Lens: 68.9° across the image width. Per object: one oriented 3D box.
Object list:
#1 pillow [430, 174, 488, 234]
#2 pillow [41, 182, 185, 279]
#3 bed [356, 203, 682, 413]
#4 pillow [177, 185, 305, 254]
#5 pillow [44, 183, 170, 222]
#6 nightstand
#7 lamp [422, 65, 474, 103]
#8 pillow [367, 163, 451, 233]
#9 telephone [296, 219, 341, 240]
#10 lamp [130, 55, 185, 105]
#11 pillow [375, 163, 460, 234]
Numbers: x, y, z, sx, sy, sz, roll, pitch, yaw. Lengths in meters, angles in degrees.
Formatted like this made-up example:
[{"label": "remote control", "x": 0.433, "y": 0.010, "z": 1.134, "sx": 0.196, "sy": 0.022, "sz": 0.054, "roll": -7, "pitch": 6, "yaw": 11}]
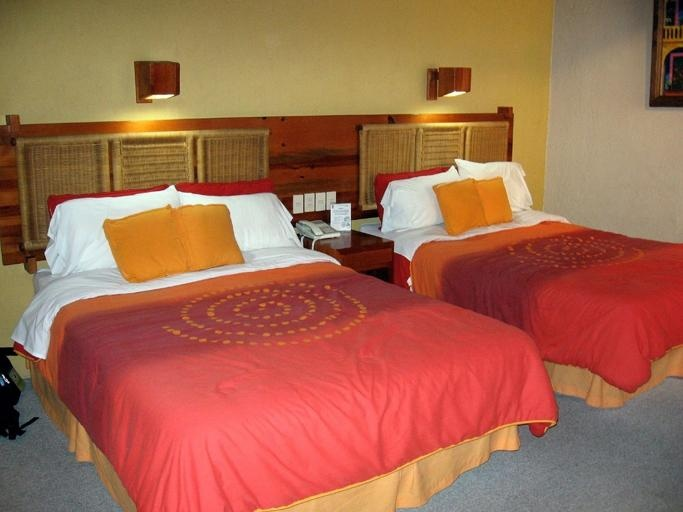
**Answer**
[{"label": "pillow", "x": 1.000, "y": -0.423, "z": 4.241, "sx": 0.474, "sy": 0.361, "sz": 0.231, "roll": -13, "pitch": 20, "yaw": -24}, {"label": "pillow", "x": -1.535, "y": -0.168, "z": 3.458, "sx": 0.966, "sy": 0.902, "sz": 0.248, "roll": -25, "pitch": 65, "yaw": -31}, {"label": "bed", "x": 1.230, "y": 0.321, "z": 3.484, "sx": 1.188, "sy": 0.505, "sz": 1.763, "roll": -12, "pitch": 22, "yaw": -30}, {"label": "pillow", "x": -0.621, "y": -0.259, "z": 3.623, "sx": 0.708, "sy": 0.477, "sz": 0.186, "roll": -7, "pitch": -13, "yaw": -38}, {"label": "pillow", "x": -1.571, "y": -0.346, "z": 3.285, "sx": 0.567, "sy": 0.054, "sz": 0.342, "roll": -3, "pitch": 29, "yaw": -16}, {"label": "nightstand", "x": 0.064, "y": -0.132, "z": 4.089, "sx": 0.454, "sy": 0.556, "sz": 0.621, "roll": -14, "pitch": 25, "yaw": -33}, {"label": "lamp", "x": 1.067, "y": -1.697, "z": 4.855, "sx": 0.275, "sy": 0.266, "sz": 0.355, "roll": -17, "pitch": 21, "yaw": -34}, {"label": "pillow", "x": 0.584, "y": -0.498, "z": 4.390, "sx": 0.676, "sy": 0.399, "sz": 0.158, "roll": -10, "pitch": 18, "yaw": -32}, {"label": "telephone", "x": -0.237, "y": -0.226, "z": 4.170, "sx": 0.226, "sy": 0.084, "sz": 0.223, "roll": -8, "pitch": 14, "yaw": -35}, {"label": "lamp", "x": -1.326, "y": -1.239, "z": 3.542, "sx": 0.196, "sy": 0.267, "sz": 0.331, "roll": -8, "pitch": 16, "yaw": -42}, {"label": "pillow", "x": 0.652, "y": -0.486, "z": 4.357, "sx": 0.728, "sy": 0.445, "sz": 0.232, "roll": -7, "pitch": 2, "yaw": -25}]
